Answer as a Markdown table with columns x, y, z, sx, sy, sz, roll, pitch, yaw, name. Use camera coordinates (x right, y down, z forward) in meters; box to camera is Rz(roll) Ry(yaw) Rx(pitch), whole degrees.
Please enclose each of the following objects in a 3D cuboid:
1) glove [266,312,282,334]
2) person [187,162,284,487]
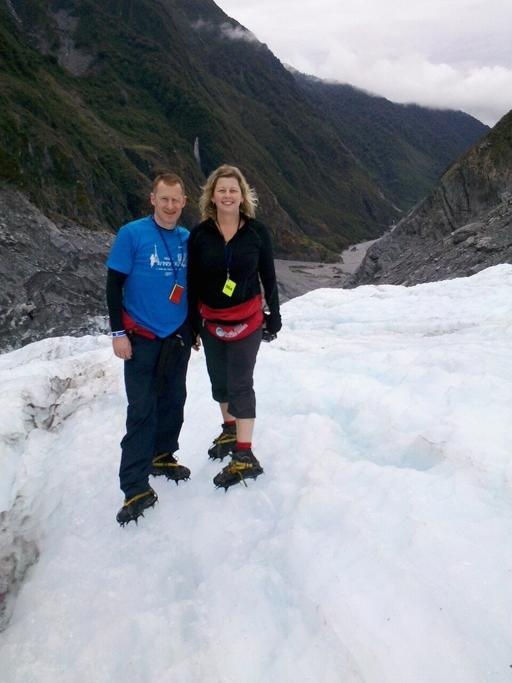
| x | y | z | sx | sy | sz | roll | pitch | yaw | name |
| --- | --- | --- | --- | --- | --- | --- | --- | --- | --- |
| 0.125 | -0.137 | 3.739 | 0.118 | 0.144 | 0.039 | 0 | 18 | 25 | glove |
| -0.126 | -0.072 | 3.544 | 0.632 | 2.052 | 0.883 | -2 | 23 | -6 | person |
